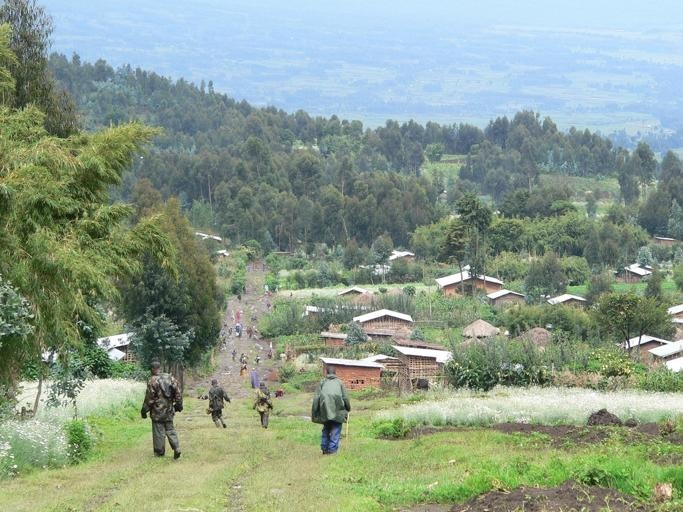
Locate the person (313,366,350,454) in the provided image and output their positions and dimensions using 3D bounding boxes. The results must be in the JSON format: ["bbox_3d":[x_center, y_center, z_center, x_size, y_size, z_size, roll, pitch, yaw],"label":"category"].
[{"bbox_3d":[-0.292,4.820,28.630,0.978,2.758,0.816,4,-22,-1],"label":"person"}]

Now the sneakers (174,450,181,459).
[{"bbox_3d":[-4.945,5.983,28.000,0.221,0.246,0.267,-1,-1,-12],"label":"sneakers"}]

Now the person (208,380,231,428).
[{"bbox_3d":[-4.601,5.560,35.012,0.696,1.859,0.496,-4,-7,-21],"label":"person"}]

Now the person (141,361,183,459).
[{"bbox_3d":[-5.412,4.639,28.099,1.126,2.915,1.112,-1,-1,-14],"label":"person"}]
